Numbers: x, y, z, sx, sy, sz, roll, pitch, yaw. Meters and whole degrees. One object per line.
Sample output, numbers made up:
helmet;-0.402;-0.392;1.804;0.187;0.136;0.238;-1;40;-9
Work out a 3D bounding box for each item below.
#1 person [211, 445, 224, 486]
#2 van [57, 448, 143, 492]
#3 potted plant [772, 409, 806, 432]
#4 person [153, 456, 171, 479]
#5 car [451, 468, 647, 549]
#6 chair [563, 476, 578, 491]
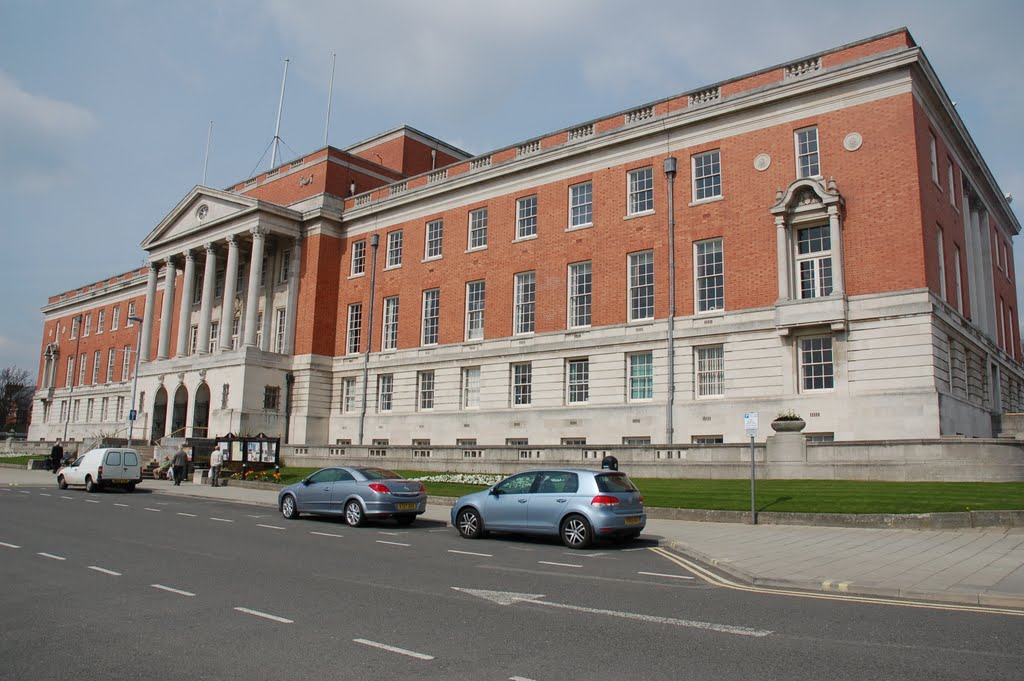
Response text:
person;-15.007;6.410;40.786;0.504;1.954;1.344;4;-12;-17
van;-19.425;6.131;37.841;3.737;1.426;2.046;-3;-9;38
potted plant;10.681;3.191;30.836;1.218;0.701;1.215;-3;-7;18
person;-20.451;7.480;46.984;0.830;0.788;0.802;0;-16;-8
car;1.143;4.660;23.297;4.741;1.718;2.306;-2;-10;30
chair;1.689;4.015;22.454;0.491;0.449;0.217;-10;-15;40
